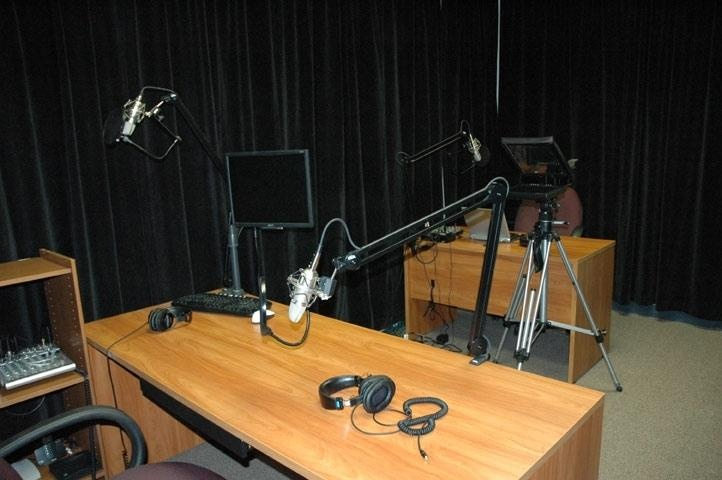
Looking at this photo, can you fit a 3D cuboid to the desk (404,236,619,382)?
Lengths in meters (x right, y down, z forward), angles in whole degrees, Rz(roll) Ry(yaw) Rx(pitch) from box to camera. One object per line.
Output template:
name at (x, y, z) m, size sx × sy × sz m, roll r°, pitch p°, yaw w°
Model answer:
desk at (1.315, 0.216, 4.416) m, size 1.821 × 1.247 × 1.049 m, roll 9°, pitch 14°, yaw 40°

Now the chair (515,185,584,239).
chair at (1.684, -0.406, 4.806) m, size 0.454 × 0.569 × 0.481 m, roll 17°, pitch 51°, yaw 41°

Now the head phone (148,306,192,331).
head phone at (-1.120, 0.431, 3.105) m, size 0.136 × 0.087 × 0.181 m, roll -5°, pitch 2°, yaw 33°

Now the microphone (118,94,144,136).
microphone at (-1.331, -0.718, 3.100) m, size 0.143 × 0.228 × 0.160 m, roll -6°, pitch 13°, yaw -32°

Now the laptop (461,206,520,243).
laptop at (1.049, -0.099, 4.496) m, size 0.364 × 0.273 × 0.332 m, roll 5°, pitch -24°, yaw -9°

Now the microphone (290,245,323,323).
microphone at (-0.269, 0.206, 2.516) m, size 0.143 × 0.355 × 0.238 m, roll -1°, pitch 11°, yaw -8°

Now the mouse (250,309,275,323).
mouse at (-0.592, 0.426, 3.155) m, size 0.077 × 0.041 × 0.134 m, roll 6°, pitch 12°, yaw 24°

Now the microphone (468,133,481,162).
microphone at (0.966, -0.763, 4.444) m, size 0.105 × 0.218 × 0.366 m, roll 3°, pitch 11°, yaw 12°
